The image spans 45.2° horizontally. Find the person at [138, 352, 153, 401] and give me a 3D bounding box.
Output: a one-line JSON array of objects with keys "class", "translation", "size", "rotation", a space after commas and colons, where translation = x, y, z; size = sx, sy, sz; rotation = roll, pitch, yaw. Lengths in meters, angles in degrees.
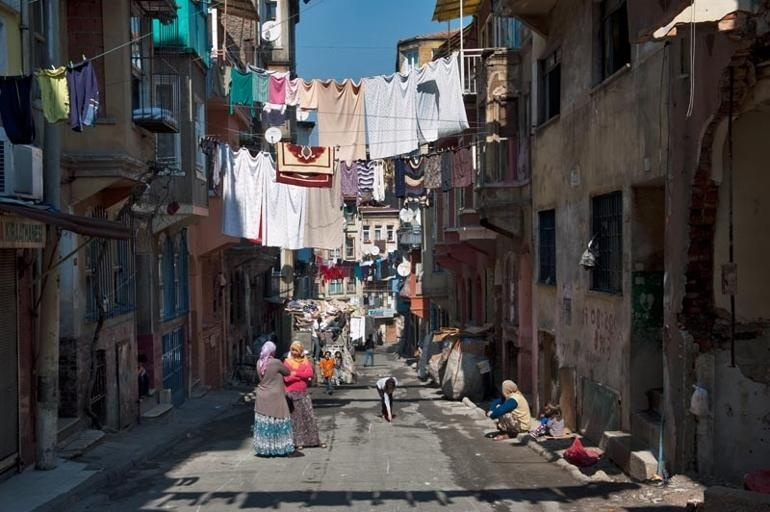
[{"class": "person", "translation": [-7.016, 3.470, 27.104], "size": [0.337, 1.282, 1.496], "rotation": [0, -5, -14]}]

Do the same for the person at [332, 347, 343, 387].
[{"class": "person", "translation": [-1.922, 4.676, 38.668], "size": [0.644, 1.162, 0.409], "rotation": [1, -5, 4]}]

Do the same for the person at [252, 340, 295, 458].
[{"class": "person", "translation": [-2.499, 3.234, 20.968], "size": [0.885, 2.562, 0.564], "rotation": [-1, -3, -7]}]

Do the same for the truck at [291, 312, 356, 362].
[{"class": "truck", "translation": [-3.352, 4.287, 46.202], "size": [3.898, 2.704, 4.200], "rotation": [-1, 2, 6]}]

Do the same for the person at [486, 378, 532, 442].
[{"class": "person", "translation": [3.263, 4.121, 24.311], "size": [1.160, 1.823, 1.197], "rotation": [1, -14, 0]}]

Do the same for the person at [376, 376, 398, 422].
[{"class": "person", "translation": [0.073, 4.089, 26.497], "size": [0.456, 1.222, 1.127], "rotation": [-1, -5, 0]}]
